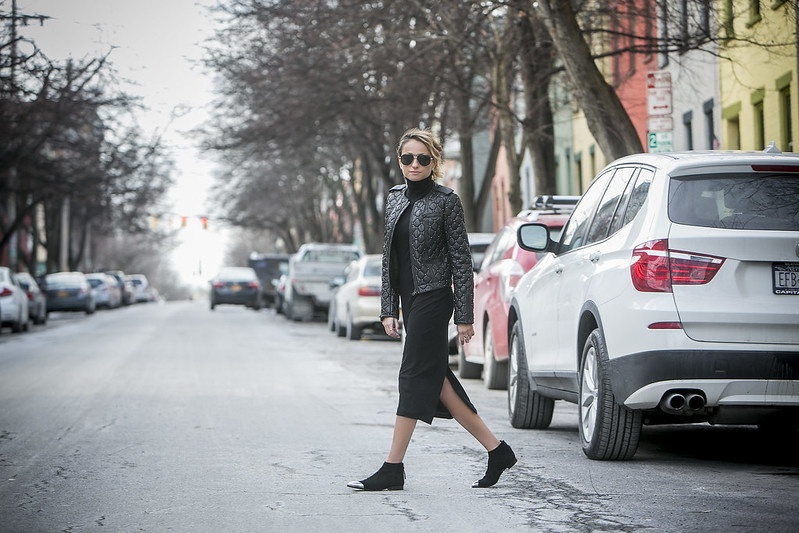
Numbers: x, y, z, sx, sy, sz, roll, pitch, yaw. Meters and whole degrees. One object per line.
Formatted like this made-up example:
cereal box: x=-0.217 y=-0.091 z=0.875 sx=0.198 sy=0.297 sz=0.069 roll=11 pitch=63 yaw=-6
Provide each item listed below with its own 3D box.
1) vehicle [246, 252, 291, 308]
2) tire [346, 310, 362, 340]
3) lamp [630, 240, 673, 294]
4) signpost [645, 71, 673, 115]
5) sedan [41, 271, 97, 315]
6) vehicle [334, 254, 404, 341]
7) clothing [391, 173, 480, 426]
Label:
vehicle: x=-5.421 y=0.293 z=46.232 sx=1.447 sy=1.251 sz=2.481 roll=1 pitch=7 yaw=-1
tire: x=-1.003 y=1.297 z=24.732 sx=0.257 sy=0.734 sz=0.754 roll=0 pitch=0 yaw=-5
lamp: x=2.074 y=0.003 z=9.020 sx=0.306 sy=0.403 sz=0.163 roll=-1 pitch=5 yaw=23
signpost: x=3.812 y=-2.525 z=16.057 sx=0.409 sy=0.679 sz=0.326 roll=2 pitch=-2 yaw=0
sedan: x=-12.329 y=1.040 z=40.890 sx=1.747 sy=1.213 sz=3.688 roll=0 pitch=4 yaw=-8
vehicle: x=-0.928 y=0.283 z=25.133 sx=0.936 sy=0.960 sz=2.368 roll=1 pitch=13 yaw=-23
clothing: x=0.227 y=0.273 z=8.762 sx=0.730 sy=1.873 sz=0.273 roll=2 pitch=-2 yaw=6
